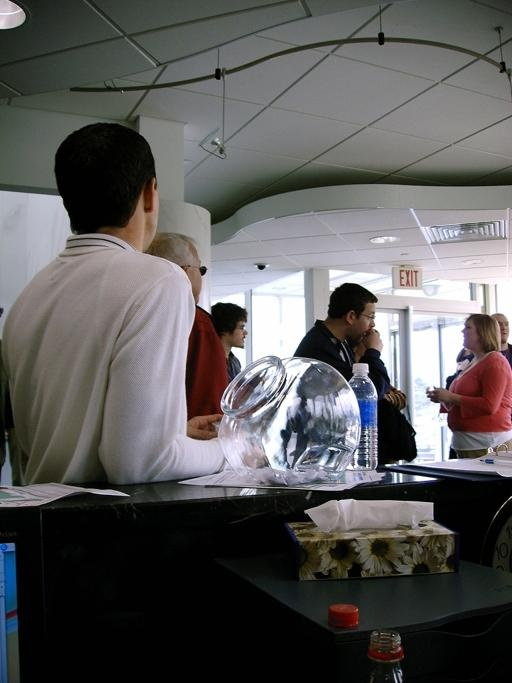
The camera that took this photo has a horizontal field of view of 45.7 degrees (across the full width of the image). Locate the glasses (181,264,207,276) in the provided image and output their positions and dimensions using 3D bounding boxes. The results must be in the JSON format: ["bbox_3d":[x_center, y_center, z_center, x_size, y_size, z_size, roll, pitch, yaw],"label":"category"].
[{"bbox_3d":[-0.198,-0.230,1.950,0.075,0.024,0.073,3,0,4],"label":"glasses"}]

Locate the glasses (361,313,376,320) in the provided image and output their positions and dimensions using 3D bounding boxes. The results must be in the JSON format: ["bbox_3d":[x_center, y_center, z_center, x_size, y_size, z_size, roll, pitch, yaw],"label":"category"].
[{"bbox_3d":[0.419,-0.095,2.292,0.036,0.011,0.036,3,-3,-34],"label":"glasses"}]
